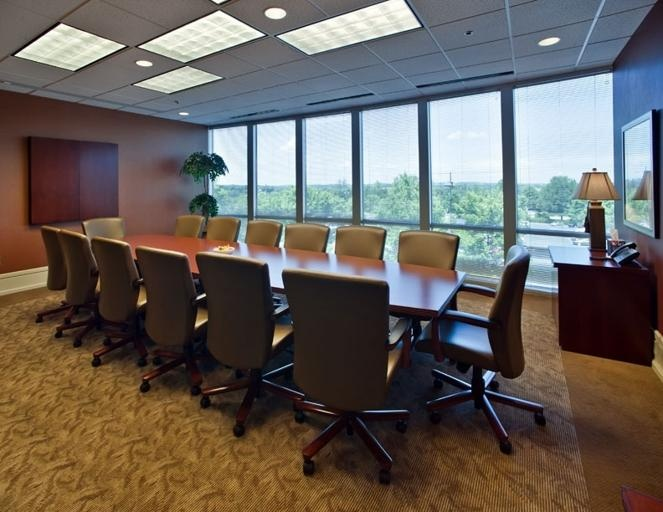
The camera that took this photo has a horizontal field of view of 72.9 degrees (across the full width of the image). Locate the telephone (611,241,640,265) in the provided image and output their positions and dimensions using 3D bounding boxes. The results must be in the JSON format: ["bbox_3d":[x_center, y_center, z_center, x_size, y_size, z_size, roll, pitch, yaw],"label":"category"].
[{"bbox_3d":[2.493,-0.016,3.824,0.182,0.119,0.231,-22,6,14],"label":"telephone"}]

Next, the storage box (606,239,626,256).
[{"bbox_3d":[2.529,-0.069,4.009,0.130,0.137,0.072,-4,7,-28],"label":"storage box"}]

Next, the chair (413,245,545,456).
[{"bbox_3d":[1.011,0.577,3.135,0.765,1.183,0.866,-9,12,-29],"label":"chair"}]

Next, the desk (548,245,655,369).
[{"bbox_3d":[2.463,0.391,4.102,0.662,0.879,1.361,1,5,30],"label":"desk"}]

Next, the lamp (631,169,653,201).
[{"bbox_3d":[2.577,-0.580,3.716,0.166,0.206,0.196,4,7,16],"label":"lamp"}]
